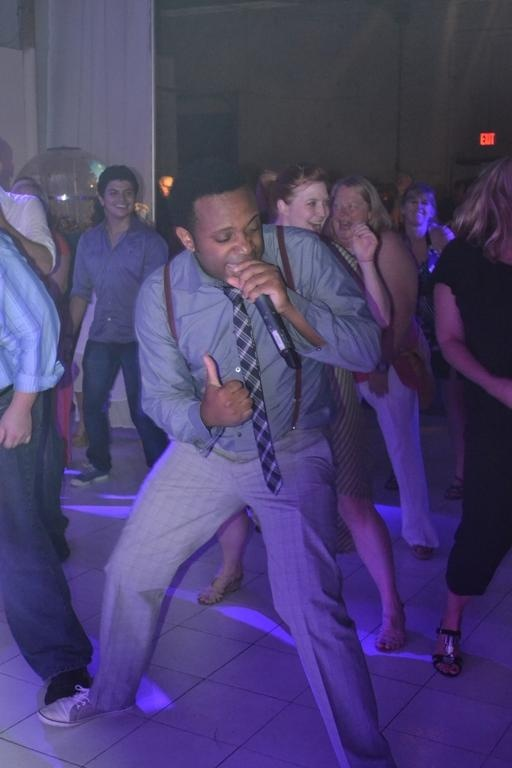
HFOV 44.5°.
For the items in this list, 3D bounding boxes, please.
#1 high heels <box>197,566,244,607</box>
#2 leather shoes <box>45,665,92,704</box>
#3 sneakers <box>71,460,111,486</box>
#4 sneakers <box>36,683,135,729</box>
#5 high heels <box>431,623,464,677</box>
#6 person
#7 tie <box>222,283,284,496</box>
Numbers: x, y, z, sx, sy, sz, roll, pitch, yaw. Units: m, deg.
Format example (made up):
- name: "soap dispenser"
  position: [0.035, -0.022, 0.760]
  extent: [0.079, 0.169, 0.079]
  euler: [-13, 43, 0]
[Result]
- name: "high heels"
  position: [-0.134, 0.790, 2.458]
  extent: [0.216, 0.109, 0.075]
  euler: [-7, 5, -41]
- name: "leather shoes"
  position: [-0.517, 0.825, 1.717]
  extent: [0.064, 0.053, 0.141]
  euler: [45, 23, 22]
- name: "sneakers"
  position: [-1.064, 0.590, 4.117]
  extent: [0.257, 0.104, 0.091]
  euler: [-4, 14, -41]
- name: "sneakers"
  position: [-0.439, 0.861, 1.709]
  extent: [0.295, 0.106, 0.103]
  euler: [3, 27, -20]
- name: "high heels"
  position: [0.557, 0.802, 1.861]
  extent: [0.060, 0.062, 0.169]
  euler: [-2, 0, 16]
- name: "person"
  position: [-0.073, 0.262, 1.405]
  extent: [0.774, 1.299, 0.392]
  euler: [3, 7, 37]
- name: "tie"
  position: [-0.016, -0.030, 1.288]
  extent: [0.070, 0.511, 0.059]
  euler: [-17, -22, 12]
